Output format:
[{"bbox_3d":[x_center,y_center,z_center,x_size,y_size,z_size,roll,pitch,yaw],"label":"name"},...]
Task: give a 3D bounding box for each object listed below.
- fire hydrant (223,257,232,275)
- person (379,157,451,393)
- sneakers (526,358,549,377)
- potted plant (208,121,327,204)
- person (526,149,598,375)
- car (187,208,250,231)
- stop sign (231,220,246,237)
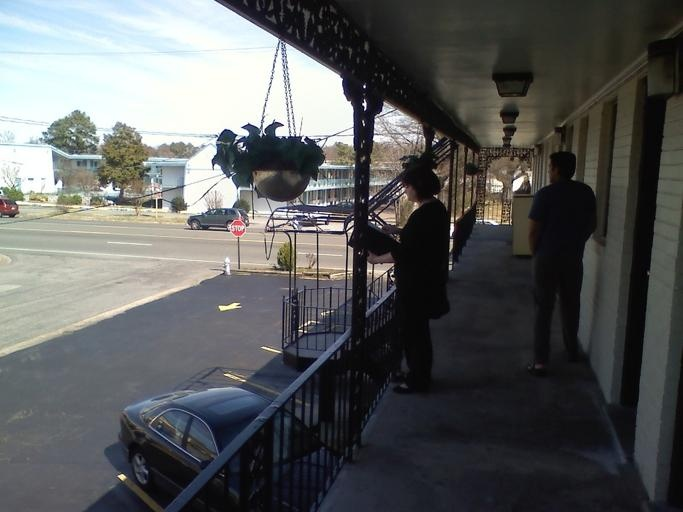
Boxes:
[{"bbox_3d":[-4.654,0.383,20.599,0.300,0.593,1.146,-4,13,-14],"label":"fire hydrant"},{"bbox_3d":[0.659,0.255,4.344,0.486,2.031,0.866,1,11,12],"label":"person"},{"bbox_3d":[1.849,1.049,4.889,0.101,0.206,0.196,0,12,-13],"label":"sneakers"},{"bbox_3d":[-0.432,-0.505,3.367,0.593,0.311,0.639,-9,-8,-2],"label":"potted plant"},{"bbox_3d":[1.988,0.077,4.739,0.605,2.034,0.333,-2,11,-5],"label":"person"},{"bbox_3d":[-8.737,-2.575,35.620,3.692,1.387,1.718,0,12,8],"label":"car"},{"bbox_3d":[-4.786,-1.264,23.447,0.540,0.692,1.417,-5,13,-17],"label":"stop sign"}]
